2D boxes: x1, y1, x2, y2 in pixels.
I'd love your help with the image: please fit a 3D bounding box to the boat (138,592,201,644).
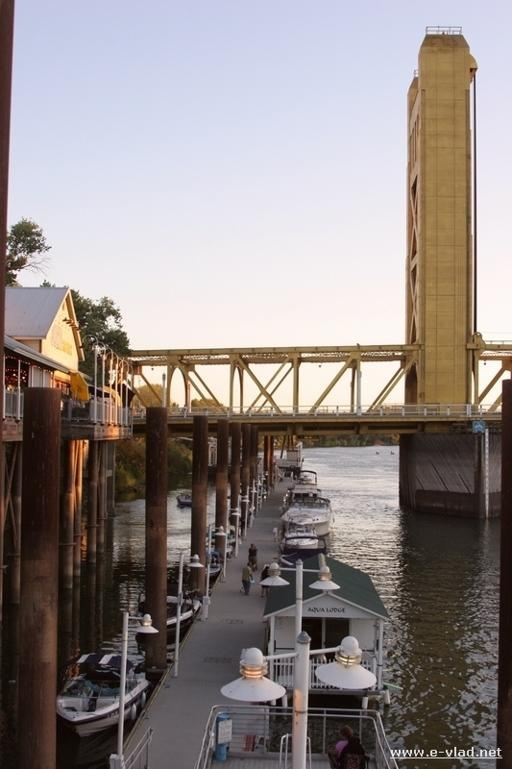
[{"bbox_3d":[-2.367,7.118,28.909,0.923,0.887,2.936,4,3,1],"label":"boat"}]
